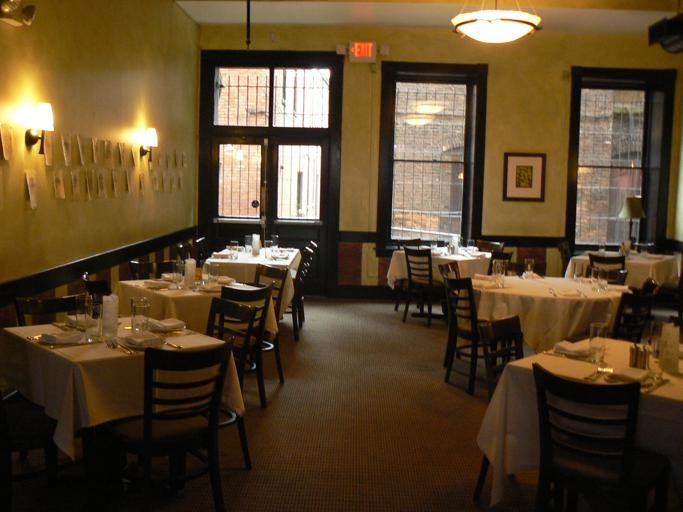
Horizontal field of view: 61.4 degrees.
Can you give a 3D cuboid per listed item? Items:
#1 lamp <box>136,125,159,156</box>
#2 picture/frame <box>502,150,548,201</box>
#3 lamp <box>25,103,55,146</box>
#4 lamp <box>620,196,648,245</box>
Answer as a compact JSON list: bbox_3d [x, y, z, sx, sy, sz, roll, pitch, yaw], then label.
[{"bbox_3d":[-2.534,-1.482,7.558,0.177,0.385,0.495,2,6,-6],"label":"lamp"},{"bbox_3d":[3.032,-1.372,9.580,0.674,0.911,0.058,1,2,-4],"label":"picture/frame"},{"bbox_3d":[-2.766,-1.165,5.243,0.159,0.445,0.289,7,8,35],"label":"lamp"},{"bbox_3d":[4.584,-0.547,9.113,0.465,0.753,0.507,3,7,18],"label":"lamp"}]
